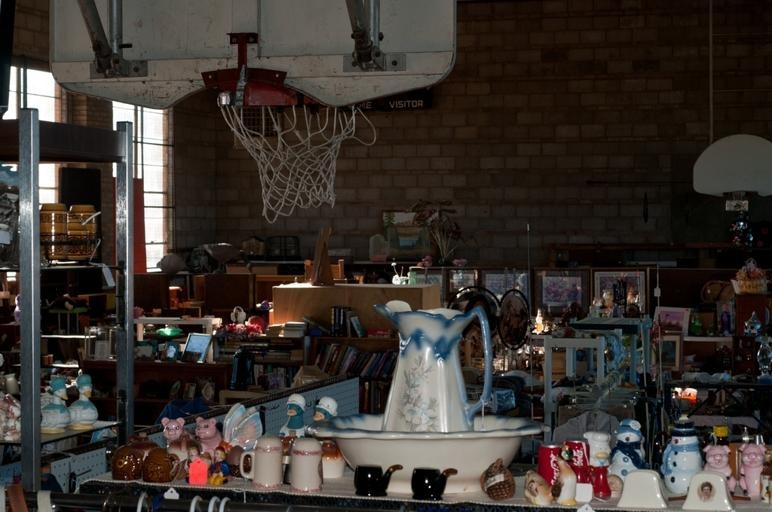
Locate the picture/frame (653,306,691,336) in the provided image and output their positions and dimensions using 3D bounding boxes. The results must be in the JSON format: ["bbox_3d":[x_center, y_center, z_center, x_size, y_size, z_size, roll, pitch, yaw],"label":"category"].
[{"bbox_3d":[2.603,0.599,9.898,0.311,0.283,0.171,3,-4,18],"label":"picture/frame"}]

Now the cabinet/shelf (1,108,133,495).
[{"bbox_3d":[-1.666,0.216,5.686,0.361,1.916,0.716,-1,-2,37],"label":"cabinet/shelf"}]

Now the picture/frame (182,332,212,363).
[{"bbox_3d":[-1.547,0.750,8.863,0.207,0.219,0.057,7,-17,21],"label":"picture/frame"}]

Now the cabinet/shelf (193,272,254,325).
[{"bbox_3d":[-1.801,0.466,12.200,0.698,0.552,0.693,1,1,0],"label":"cabinet/shelf"}]

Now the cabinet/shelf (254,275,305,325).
[{"bbox_3d":[-1.330,0.475,12.839,0.411,0.396,0.320,12,0,-32],"label":"cabinet/shelf"}]

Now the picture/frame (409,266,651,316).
[{"bbox_3d":[1.508,0.349,11.414,2.192,0.442,1.756,-1,-3,36],"label":"picture/frame"}]

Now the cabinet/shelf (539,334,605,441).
[{"bbox_3d":[1.383,0.959,8.317,0.599,1.038,0.772,0,2,7],"label":"cabinet/shelf"}]

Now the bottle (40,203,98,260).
[{"bbox_3d":[-1.692,-0.129,5.891,0.344,0.330,0.198,-1,2,-19],"label":"bottle"}]
